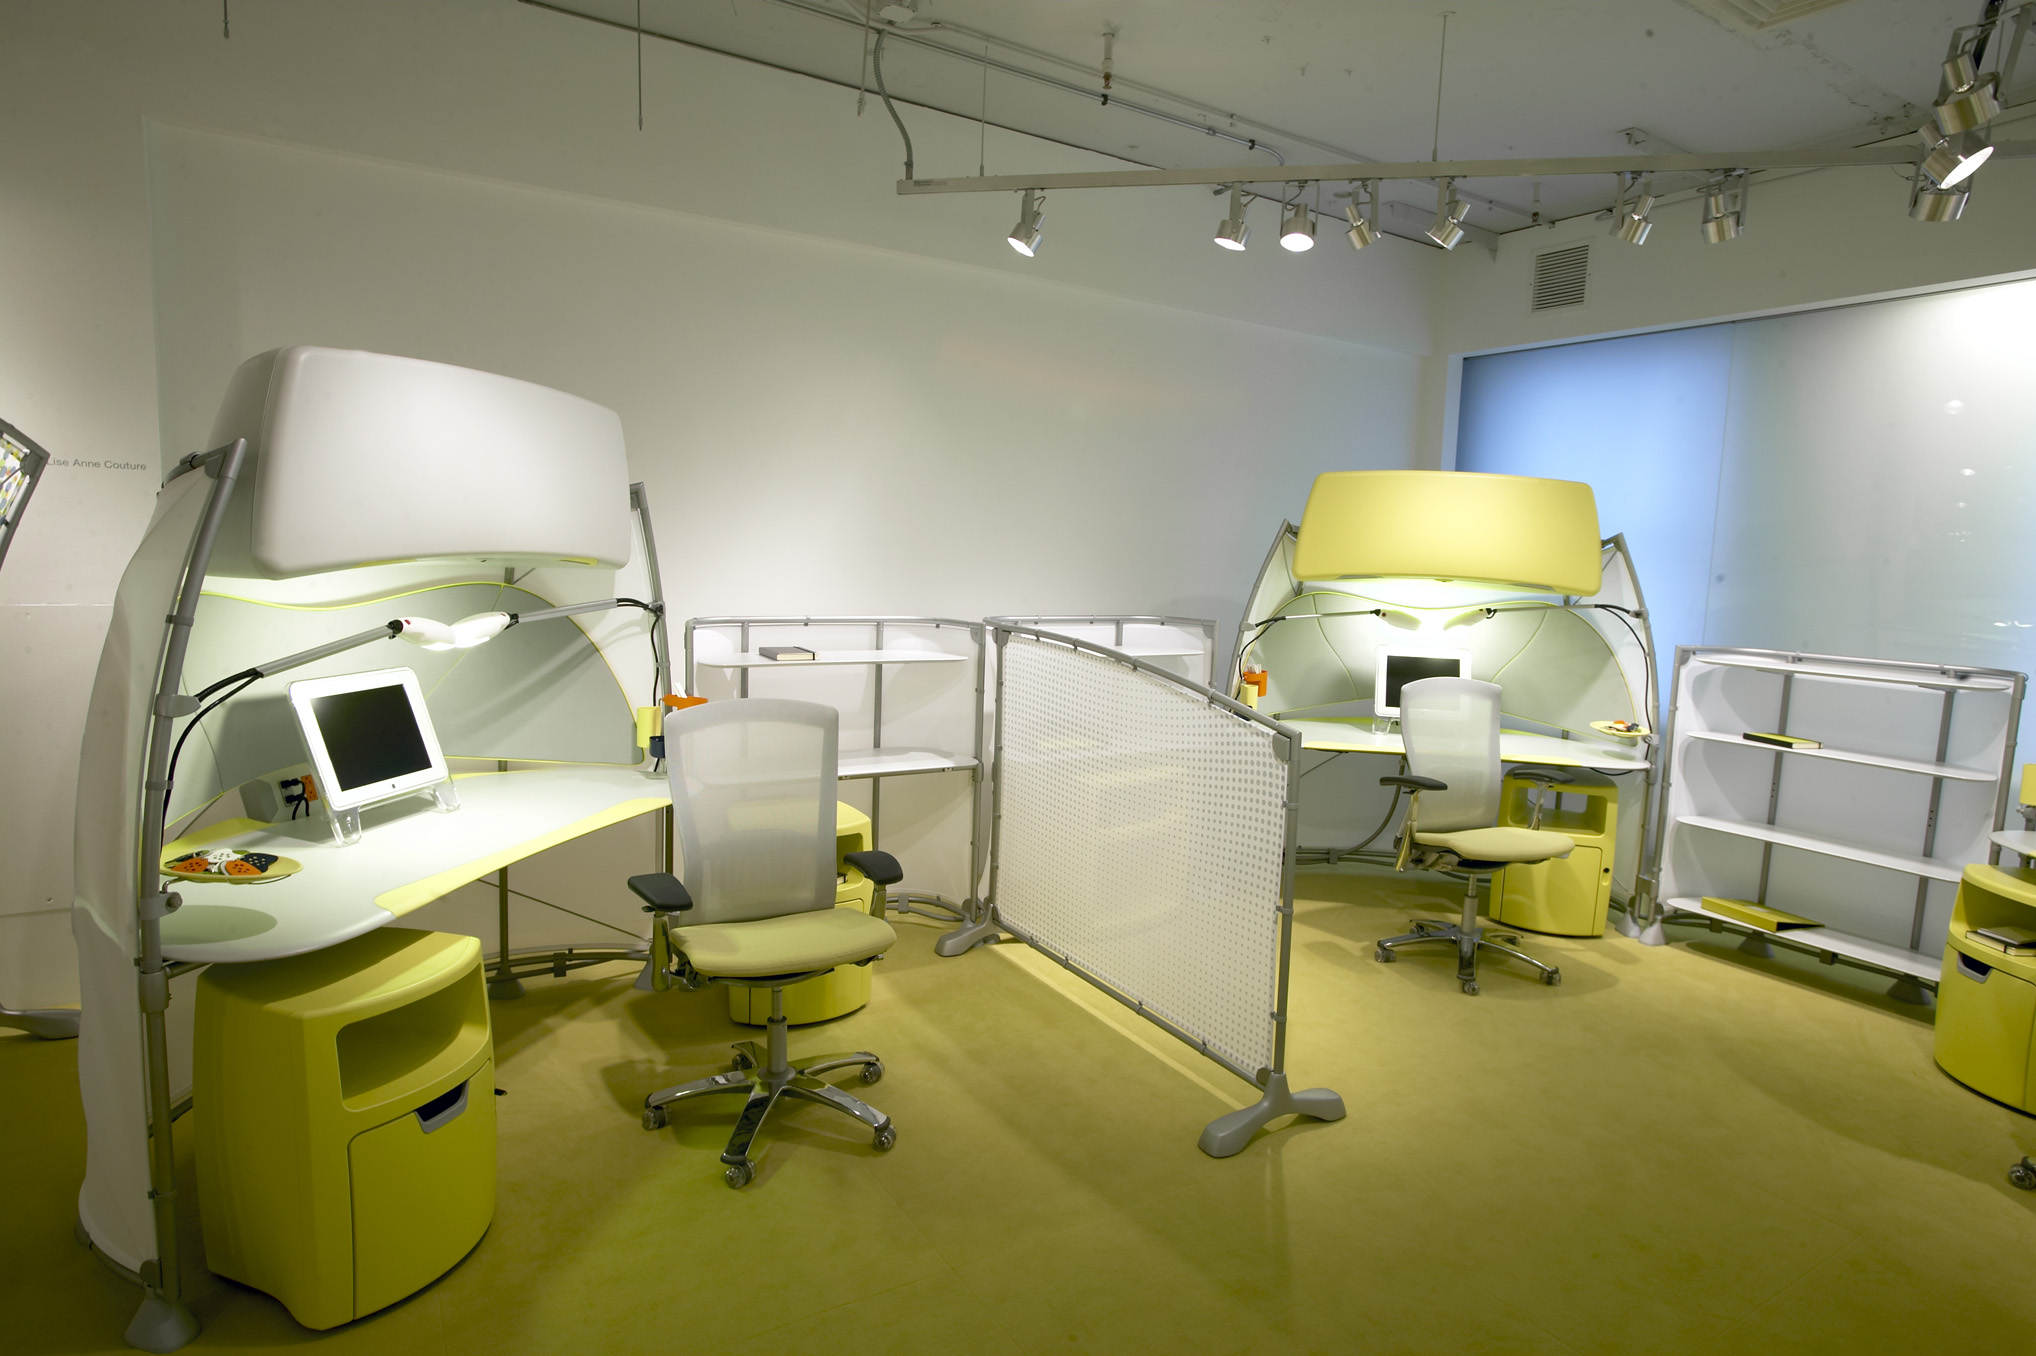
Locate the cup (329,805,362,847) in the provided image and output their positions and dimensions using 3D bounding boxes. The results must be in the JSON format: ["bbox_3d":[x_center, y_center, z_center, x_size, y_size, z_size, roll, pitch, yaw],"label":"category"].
[{"bbox_3d":[-2.378,0.523,4.570,0.123,0.150,0.120,7,-2,0],"label":"cup"}]

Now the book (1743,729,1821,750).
[{"bbox_3d":[3.767,0.320,6.333,0.333,0.094,0.303,5,9,28],"label":"book"}]

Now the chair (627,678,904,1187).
[{"bbox_3d":[-0.886,0.870,4.643,1.028,1.483,0.861,-4,10,-35],"label":"chair"}]

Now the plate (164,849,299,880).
[{"bbox_3d":[-2.608,0.622,4.244,0.231,0.030,0.159,2,4,-4],"label":"plate"}]

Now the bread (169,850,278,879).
[{"bbox_3d":[-2.614,0.618,4.247,0.205,0.028,0.146,3,5,1],"label":"bread"}]

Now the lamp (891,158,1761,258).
[{"bbox_3d":[1.381,-2.147,5.786,3.726,0.163,0.404,-1,-25,-2],"label":"lamp"}]

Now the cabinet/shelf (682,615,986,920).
[{"bbox_3d":[-0.830,0.347,5.630,1.552,1.737,0.637,-1,3,-27],"label":"cabinet/shelf"}]

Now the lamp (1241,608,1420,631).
[{"bbox_3d":[1.749,-0.335,7.182,1.007,0.134,0.192,0,8,-10],"label":"lamp"}]

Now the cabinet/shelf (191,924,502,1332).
[{"bbox_3d":[-2.289,1.446,4.243,0.895,0.978,0.731,2,7,11],"label":"cabinet/shelf"}]

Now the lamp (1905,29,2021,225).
[{"bbox_3d":[3.719,-2.209,5.079,0.258,0.786,1.261,6,9,35],"label":"lamp"}]

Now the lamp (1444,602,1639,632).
[{"bbox_3d":[2.844,-0.338,6.891,1.019,0.196,0.227,8,10,40],"label":"lamp"}]

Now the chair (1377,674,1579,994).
[{"bbox_3d":[2.091,0.673,5.922,0.781,1.304,0.815,0,4,-20],"label":"chair"}]

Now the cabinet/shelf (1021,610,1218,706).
[{"bbox_3d":[0.680,-0.148,6.911,1.064,0.350,0.442,-3,9,-29],"label":"cabinet/shelf"}]

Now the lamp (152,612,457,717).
[{"bbox_3d":[-2.546,-0.051,4.519,0.136,0.200,0.708,32,36,29],"label":"lamp"}]

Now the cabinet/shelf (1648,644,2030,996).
[{"bbox_3d":[3.964,0.662,6.137,0.564,1.689,1.479,-1,7,-44],"label":"cabinet/shelf"}]

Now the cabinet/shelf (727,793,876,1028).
[{"bbox_3d":[-0.983,1.029,5.668,0.672,0.749,0.686,5,-4,-24],"label":"cabinet/shelf"}]

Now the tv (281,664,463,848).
[{"bbox_3d":[-2.372,0.298,4.660,0.047,0.627,0.571,-19,-1,33],"label":"tv"}]
